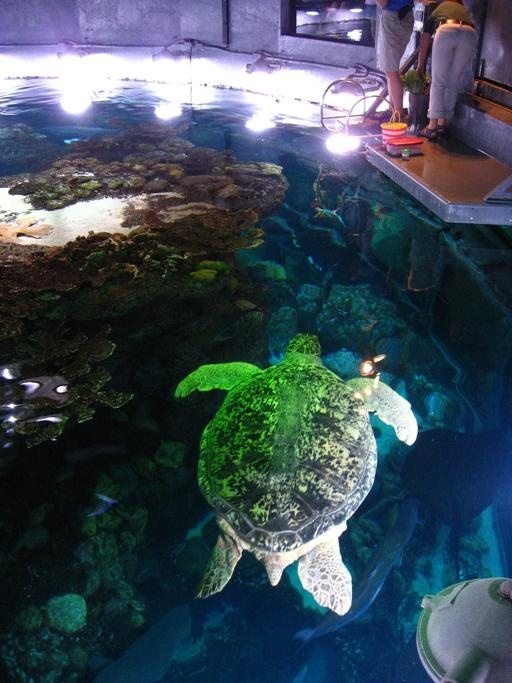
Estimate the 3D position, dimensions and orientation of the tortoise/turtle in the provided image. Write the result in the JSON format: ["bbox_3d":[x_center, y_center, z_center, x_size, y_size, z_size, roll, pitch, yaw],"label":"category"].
[{"bbox_3d":[0.135,0.507,2.026,0.788,0.227,0.850,7,50,6],"label":"tortoise/turtle"}]
